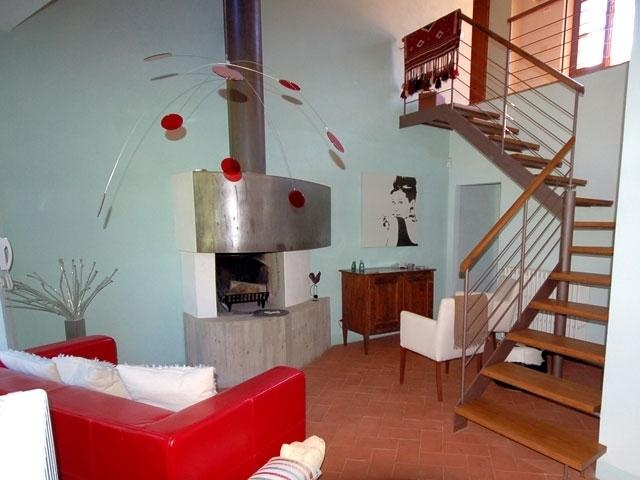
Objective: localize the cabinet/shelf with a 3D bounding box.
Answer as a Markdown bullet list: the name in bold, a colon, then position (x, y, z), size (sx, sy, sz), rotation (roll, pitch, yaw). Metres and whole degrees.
- **cabinet/shelf**: position (0.978, 0.907, 6.730), size (1.196, 1.022, 0.712), rotation (-3, 5, -32)

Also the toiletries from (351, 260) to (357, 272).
- **toiletries**: position (0.474, 0.360, 6.673), size (0.105, 0.200, 0.111), rotation (1, -2, 6)

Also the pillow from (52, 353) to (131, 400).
- **pillow**: position (-1.686, 0.978, 3.590), size (0.437, 0.340, 0.138), rotation (2, 19, 23)

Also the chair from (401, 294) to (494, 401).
- **chair**: position (1.353, 1.069, 5.317), size (0.784, 1.125, 0.733), rotation (-6, 10, -36)
